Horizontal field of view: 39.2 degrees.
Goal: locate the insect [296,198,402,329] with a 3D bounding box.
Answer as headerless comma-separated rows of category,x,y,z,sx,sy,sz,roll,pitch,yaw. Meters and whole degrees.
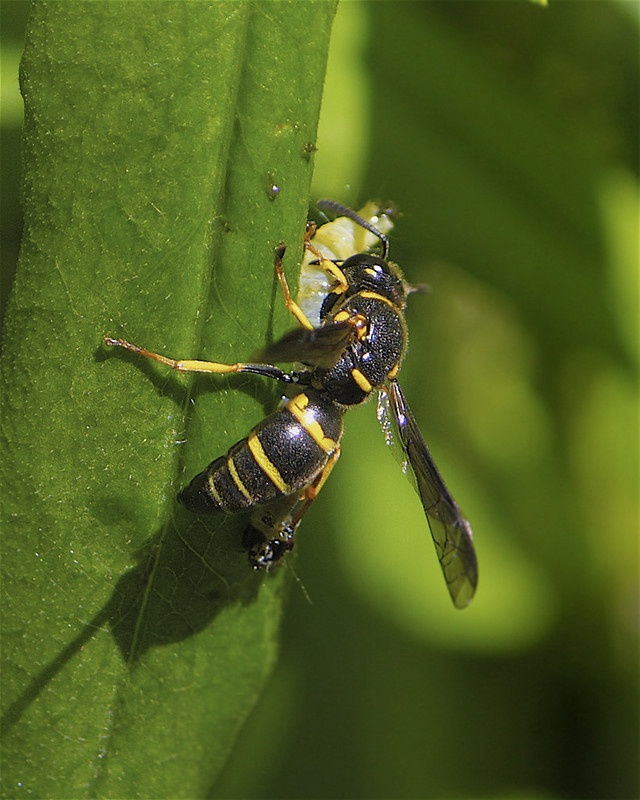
insect,0.049,-0.230,1.617,0.172,0.217,0.164,-1,43,1
